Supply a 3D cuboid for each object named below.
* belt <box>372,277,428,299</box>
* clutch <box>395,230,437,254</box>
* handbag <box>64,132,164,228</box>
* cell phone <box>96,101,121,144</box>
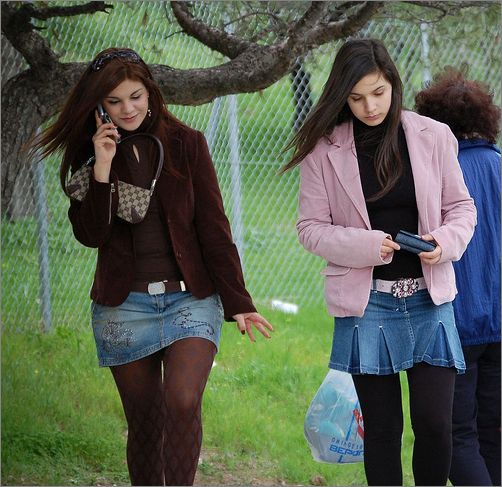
[{"bbox_3d":[0.580,0.170,2.354,0.204,0.082,0.061,4,1,14],"label":"belt"},{"bbox_3d":[0.606,-0.001,2.232,0.126,0.083,0.034,17,36,-1],"label":"clutch"},{"bbox_3d":[-0.477,-0.259,2.227,0.298,0.392,0.088,22,-10,12],"label":"handbag"},{"bbox_3d":[-0.548,-0.473,2.325,0.031,0.173,0.040,-36,-18,30],"label":"cell phone"}]
